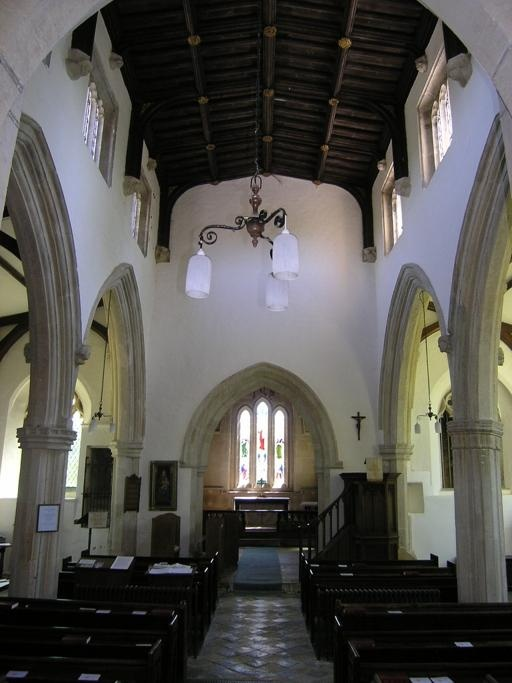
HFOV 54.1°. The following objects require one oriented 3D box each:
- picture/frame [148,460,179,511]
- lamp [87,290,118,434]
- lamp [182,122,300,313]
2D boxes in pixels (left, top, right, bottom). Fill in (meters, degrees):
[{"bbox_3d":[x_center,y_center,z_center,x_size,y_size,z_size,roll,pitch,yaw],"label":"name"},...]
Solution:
[{"bbox_3d":[-1.880,2.917,10.095,0.557,1.289,0.061,1,25,-12],"label":"picture/frame"},{"bbox_3d":[-3.333,0.669,10.947,0.435,2.814,4.640,2,-15,-18],"label":"lamp"},{"bbox_3d":[-0.116,-1.861,7.086,1.606,2.952,1.602,13,-29,-24],"label":"lamp"}]
